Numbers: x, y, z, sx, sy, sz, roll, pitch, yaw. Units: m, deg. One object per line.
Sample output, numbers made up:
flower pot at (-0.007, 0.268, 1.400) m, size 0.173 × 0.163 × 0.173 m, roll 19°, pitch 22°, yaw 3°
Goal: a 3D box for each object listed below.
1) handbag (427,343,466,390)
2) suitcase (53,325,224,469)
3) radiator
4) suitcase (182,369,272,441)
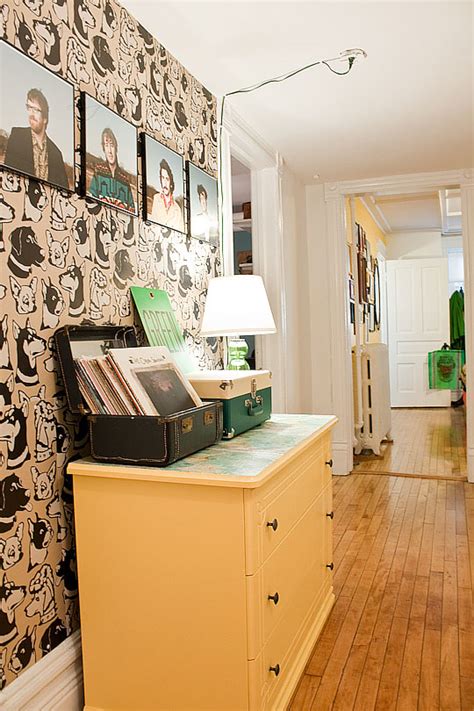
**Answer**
handbag at (2.575, 0.126, 6.301) m, size 0.404 × 0.693 × 0.452 m, roll -1°, pitch 12°, yaw 2°
suitcase at (-0.248, 0.100, 1.359) m, size 0.296 × 0.416 × 0.395 m, roll -1°, pitch 1°, yaw 17°
radiator at (1.258, 0.420, 4.668) m, size 0.297 × 1.208 × 0.898 m, roll -1°, pitch 2°, yaw 14°
suitcase at (-0.058, 0.111, 1.623) m, size 0.171 × 0.140 × 0.255 m, roll 1°, pitch 4°, yaw 22°
